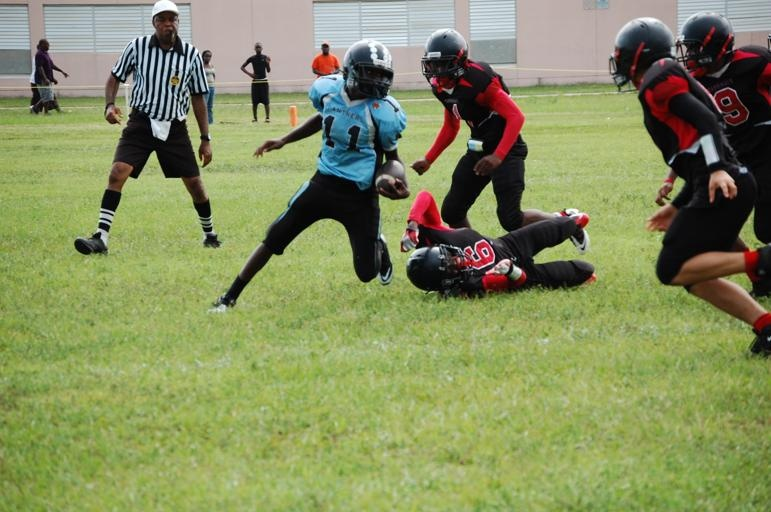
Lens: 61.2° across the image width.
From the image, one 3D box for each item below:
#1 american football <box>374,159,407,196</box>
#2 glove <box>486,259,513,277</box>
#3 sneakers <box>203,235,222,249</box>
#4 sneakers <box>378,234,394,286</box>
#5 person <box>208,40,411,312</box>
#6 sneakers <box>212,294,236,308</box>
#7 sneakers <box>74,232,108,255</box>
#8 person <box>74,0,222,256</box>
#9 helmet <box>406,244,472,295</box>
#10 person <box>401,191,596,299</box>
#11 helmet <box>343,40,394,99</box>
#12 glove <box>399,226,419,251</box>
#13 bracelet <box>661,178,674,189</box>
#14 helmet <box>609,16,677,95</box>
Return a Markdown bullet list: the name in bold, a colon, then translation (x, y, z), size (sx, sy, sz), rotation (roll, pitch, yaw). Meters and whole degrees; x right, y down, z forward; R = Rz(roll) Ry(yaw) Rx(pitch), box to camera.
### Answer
- **american football**: translation (0.015, -0.611, 5.160), size (0.211, 0.233, 0.291), rotation (-21, 36, 30)
- **glove**: translation (0.936, 0.098, 5.425), size (0.136, 0.074, 0.169), rotation (-19, 6, -40)
- **sneakers**: translation (-1.932, -0.152, 7.275), size (0.173, 0.139, 0.119), rotation (-13, -24, 27)
- **sneakers**: translation (-0.003, 0.043, 5.870), size (0.154, 0.407, 0.198), rotation (-5, 15, 6)
- **person**: translation (-0.460, -0.703, 5.333), size (1.268, 2.063, 0.717), rotation (0, 14, 1)
- **sneakers**: translation (-1.349, 0.374, 5.489), size (0.120, 0.071, 0.139), rotation (-1, 1, -1)
- **sneakers**: translation (-3.059, -0.129, 6.762), size (0.288, 0.233, 0.176), rotation (-5, 14, -19)
- **person**: translation (-2.487, -1.369, 6.896), size (1.240, 2.608, 0.577), rotation (-4, 14, -15)
- **helmet**: translation (0.428, 0.112, 5.523), size (0.399, 0.351, 0.473), rotation (-9, 4, -12)
- **person**: translation (0.952, -0.017, 5.654), size (1.394, 0.574, 1.011), rotation (-11, 18, -6)
- **helmet**: translation (-0.227, -1.528, 5.211), size (0.394, 0.361, 0.486), rotation (-5, 23, -22)
- **glove**: translation (0.216, -0.161, 5.641), size (0.173, 0.190, 0.087), rotation (-12, -29, 41)
- **bracelet**: translation (2.343, -0.616, 5.420), size (0.094, 0.061, 0.089), rotation (-1, 17, 1)
- **helmet**: translation (1.872, -1.434, 4.513), size (0.551, 0.499, 0.425), rotation (3, 17, 23)
